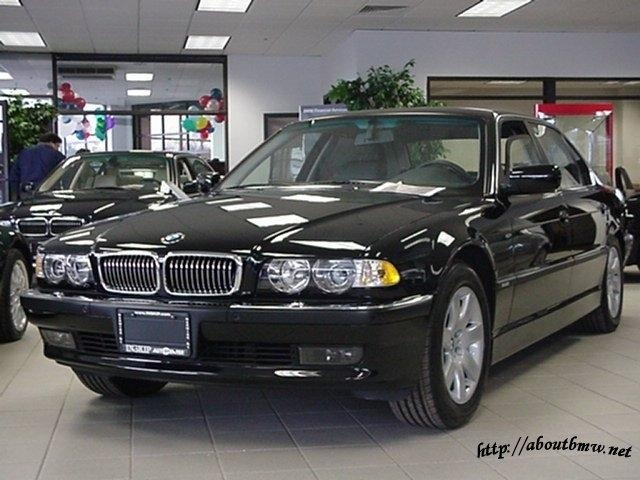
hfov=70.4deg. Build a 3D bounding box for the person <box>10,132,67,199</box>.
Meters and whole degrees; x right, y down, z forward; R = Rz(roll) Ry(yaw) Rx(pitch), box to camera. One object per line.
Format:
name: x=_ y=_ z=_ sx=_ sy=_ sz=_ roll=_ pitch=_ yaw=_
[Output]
person: x=-6.310 y=-1.603 z=9.995 sx=0.969 sy=0.569 sz=2.210 roll=1 pitch=-26 yaw=-47
